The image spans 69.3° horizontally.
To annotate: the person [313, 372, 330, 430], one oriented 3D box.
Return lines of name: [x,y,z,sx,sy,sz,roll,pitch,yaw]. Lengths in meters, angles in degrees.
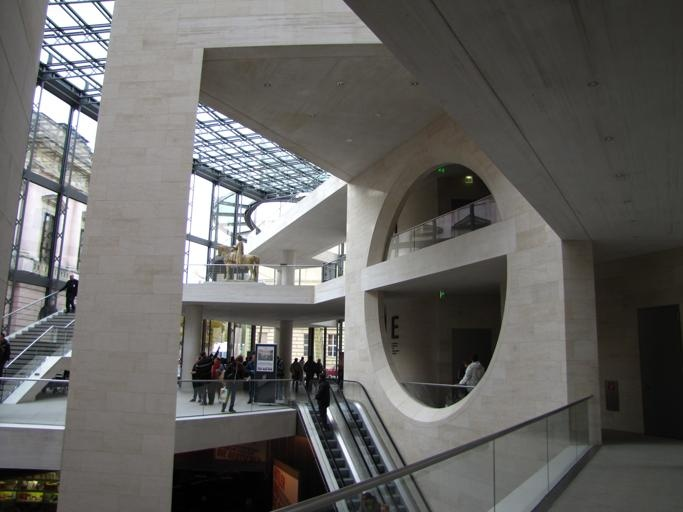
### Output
person: [-0.545,4.253,14.302,0.423,1.566,1.269,0,-12,-3]

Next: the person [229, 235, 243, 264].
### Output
person: [-4.705,-0.154,22.414,0.503,1.132,0.690,5,-13,-25]

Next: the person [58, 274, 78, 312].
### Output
person: [-10.077,1.358,18.232,0.452,1.388,1.970,6,-14,-29]

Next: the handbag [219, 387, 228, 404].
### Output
handbag: [-3.296,3.896,13.670,0.132,0.392,0.308,-6,-13,22]
